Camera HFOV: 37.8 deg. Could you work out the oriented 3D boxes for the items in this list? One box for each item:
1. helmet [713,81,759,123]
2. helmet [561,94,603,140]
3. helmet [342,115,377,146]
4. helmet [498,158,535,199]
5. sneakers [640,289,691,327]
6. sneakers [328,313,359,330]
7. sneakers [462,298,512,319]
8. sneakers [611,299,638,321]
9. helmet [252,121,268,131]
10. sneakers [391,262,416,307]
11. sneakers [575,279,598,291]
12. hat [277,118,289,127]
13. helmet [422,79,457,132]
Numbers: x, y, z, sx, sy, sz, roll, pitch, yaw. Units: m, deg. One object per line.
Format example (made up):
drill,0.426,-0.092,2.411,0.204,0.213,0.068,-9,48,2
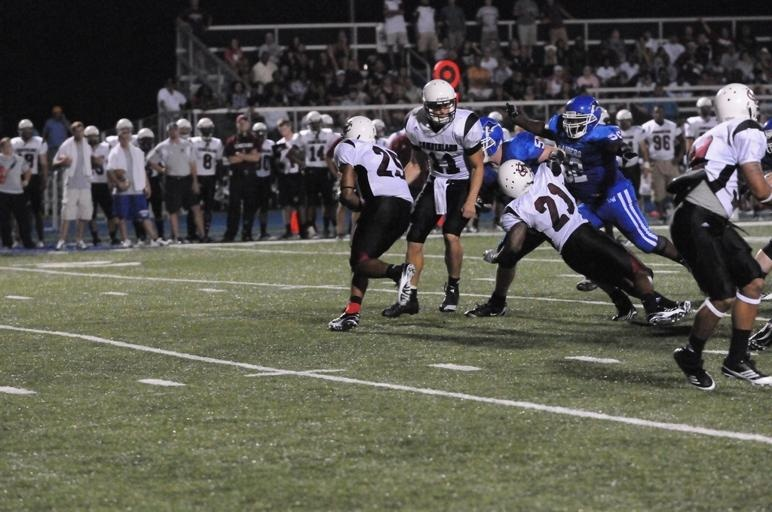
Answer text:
helmet,2.744,-1.233,8.969,0.406,0.343,0.291,-2,5,-30
helmet,1.782,-1.270,10.665,0.284,0.274,0.362,-12,-11,13
helmet,-0.242,-1.212,10.804,0.247,0.240,0.299,-11,27,-41
helmet,1.202,-0.729,10.482,0.300,0.287,0.373,-3,-4,3
sneakers,2.574,0.454,10.390,0.491,0.165,0.280,1,43,46
sneakers,-0.374,0.602,10.356,0.290,0.140,0.124,-1,28,-13
sneakers,0.999,0.537,11.120,0.474,0.178,0.159,2,-1,-5
sneakers,2.242,0.542,10.714,0.306,0.131,0.113,-3,-8,-43
helmet,-2.126,-2.158,18.719,0.254,0.133,0.250,2,5,29
sneakers,0.184,0.282,10.574,0.152,0.374,0.178,-4,19,-39
sneakers,2.143,0.315,12.050,0.191,0.144,0.351,-3,-4,11
hat,-1.681,-2.248,18.935,0.193,0.121,0.278,-2,12,-6
helmet,0.531,-1.476,10.990,0.315,0.491,0.271,-1,12,2
